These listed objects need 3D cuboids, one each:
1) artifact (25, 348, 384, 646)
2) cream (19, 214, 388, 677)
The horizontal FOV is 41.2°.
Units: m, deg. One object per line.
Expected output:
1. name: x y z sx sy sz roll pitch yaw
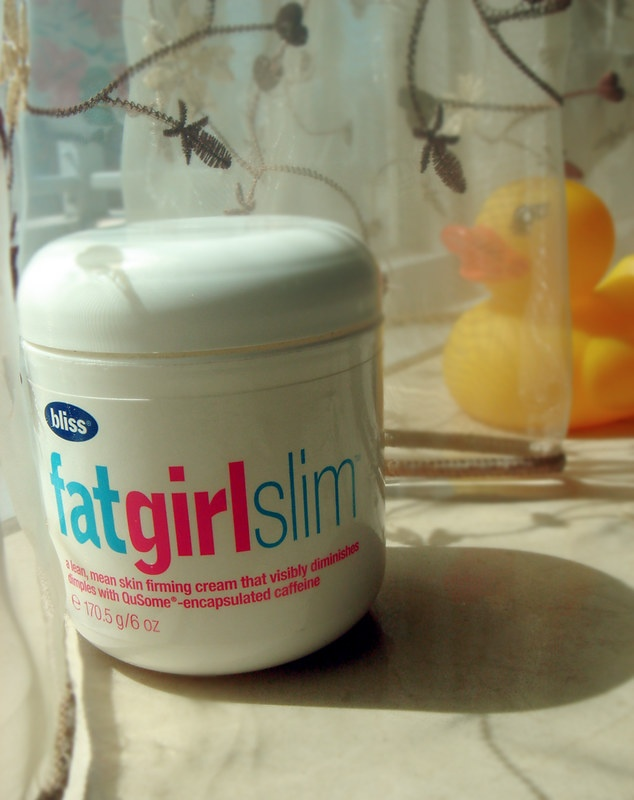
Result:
1. artifact: -0.044 0.044 0.471 0.194 0.167 0.182 -4 8 14
2. cream: -0.041 0.033 0.470 0.192 0.190 0.192 0 6 39
